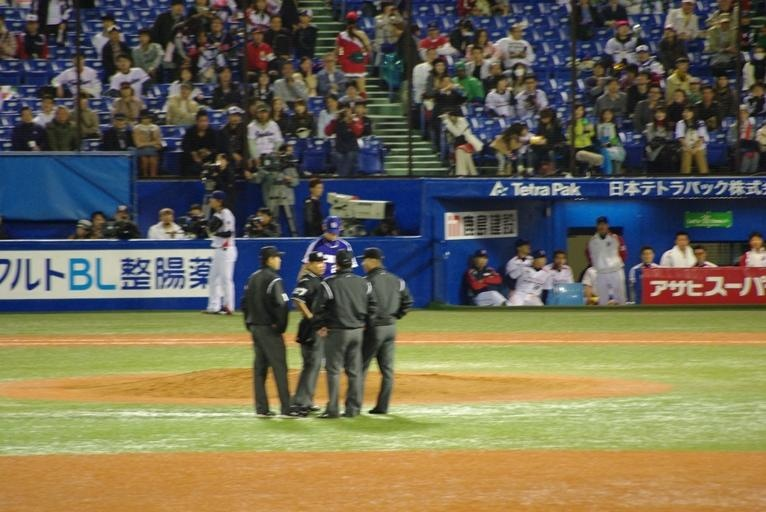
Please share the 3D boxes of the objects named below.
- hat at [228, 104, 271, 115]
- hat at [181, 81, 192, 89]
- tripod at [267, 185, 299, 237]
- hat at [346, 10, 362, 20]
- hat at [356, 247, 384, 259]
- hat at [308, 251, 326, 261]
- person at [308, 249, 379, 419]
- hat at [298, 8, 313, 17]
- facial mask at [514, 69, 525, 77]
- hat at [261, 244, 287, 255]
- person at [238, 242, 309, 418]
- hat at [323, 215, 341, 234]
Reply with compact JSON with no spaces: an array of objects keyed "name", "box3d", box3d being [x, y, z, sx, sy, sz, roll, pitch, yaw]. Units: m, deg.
[{"name":"hat","box3d":[-3.321,-3.587,37.203,0.839,0.265,0.399,-9,8,0]},{"name":"hat","box3d":[-4.853,-4.216,37.523,0.278,0.133,0.224,3,1,2]},{"name":"tripod","box3d":[-2.423,-1.080,36.477,0.798,1.178,0.378,1,-1,-11]},{"name":"hat","box3d":[-0.747,-6.063,38.559,0.326,0.231,0.084,25,-3,36]},{"name":"hat","box3d":[-0.233,-0.044,25.915,0.337,0.114,0.206,5,4,11]},{"name":"hat","box3d":[-1.124,0.003,25.887,0.253,0.084,0.164,-10,15,-27]},{"name":"person","box3d":[-0.692,1.307,25.710,1.007,2.827,0.434,2,-1,-3]},{"name":"hat","box3d":[-1.982,-6.162,38.634,0.348,0.090,0.175,9,31,11]},{"name":"facial mask","box3d":[3.406,-4.601,38.294,0.299,0.122,0.253,2,3,17]},{"name":"hat","box3d":[-1.829,-0.091,25.909,0.483,0.126,0.277,-1,2,-11]},{"name":"person","box3d":[-1.949,1.294,25.817,0.966,2.882,0.529,1,-1,4]},{"name":"hat","box3d":[-0.952,-0.582,27.884,0.326,0.192,0.398,-1,11,-26]}]
